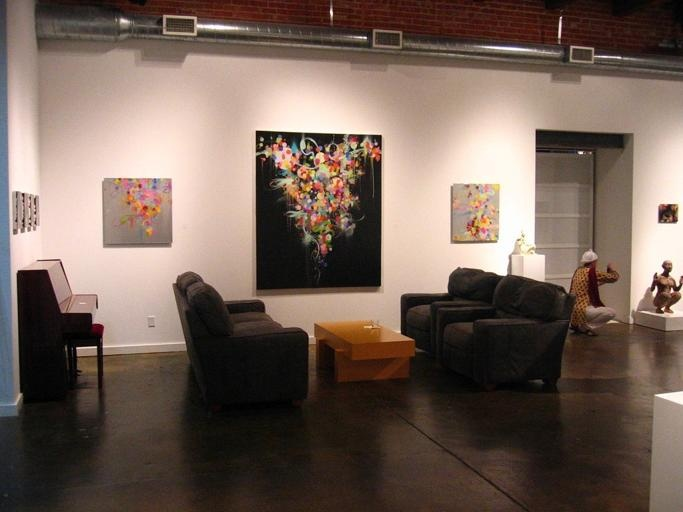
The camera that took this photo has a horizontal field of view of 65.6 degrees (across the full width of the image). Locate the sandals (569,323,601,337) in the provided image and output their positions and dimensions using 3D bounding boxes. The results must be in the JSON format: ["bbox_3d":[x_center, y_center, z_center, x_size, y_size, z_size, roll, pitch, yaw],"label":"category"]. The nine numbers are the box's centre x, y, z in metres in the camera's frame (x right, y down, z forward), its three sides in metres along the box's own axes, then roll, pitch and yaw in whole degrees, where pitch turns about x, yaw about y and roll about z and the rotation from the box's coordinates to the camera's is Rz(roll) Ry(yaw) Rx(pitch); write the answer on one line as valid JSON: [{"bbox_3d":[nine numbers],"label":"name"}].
[{"bbox_3d":[4.085,1.231,8.887,0.474,0.140,0.191,0,8,29],"label":"sandals"}]

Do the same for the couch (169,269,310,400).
[{"bbox_3d":[-1.323,0.888,6.441,1.266,1.331,2.304,-3,5,-21],"label":"couch"}]

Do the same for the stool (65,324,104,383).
[{"bbox_3d":[-3.089,1.176,6.350,0.368,0.514,0.709,-1,3,-19],"label":"stool"}]

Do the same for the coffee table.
[{"bbox_3d":[0.253,1.208,6.747,0.927,0.545,1.350,-3,7,-24],"label":"coffee table"}]

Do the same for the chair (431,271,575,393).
[{"bbox_3d":[2.000,0.898,6.555,1.269,1.188,1.142,-2,7,-18],"label":"chair"}]

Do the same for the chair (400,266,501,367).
[{"bbox_3d":[1.478,0.821,7.660,1.194,1.255,1.263,0,0,-18],"label":"chair"}]

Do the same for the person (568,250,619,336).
[{"bbox_3d":[4.228,0.618,8.915,0.681,1.356,0.560,2,6,20],"label":"person"}]

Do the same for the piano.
[{"bbox_3d":[-3.211,0.865,5.937,0.688,1.369,1.323,-1,5,-15],"label":"piano"}]

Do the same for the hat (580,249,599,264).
[{"bbox_3d":[4.441,0.010,9.461,0.191,0.206,0.142,-23,26,-15],"label":"hat"}]
